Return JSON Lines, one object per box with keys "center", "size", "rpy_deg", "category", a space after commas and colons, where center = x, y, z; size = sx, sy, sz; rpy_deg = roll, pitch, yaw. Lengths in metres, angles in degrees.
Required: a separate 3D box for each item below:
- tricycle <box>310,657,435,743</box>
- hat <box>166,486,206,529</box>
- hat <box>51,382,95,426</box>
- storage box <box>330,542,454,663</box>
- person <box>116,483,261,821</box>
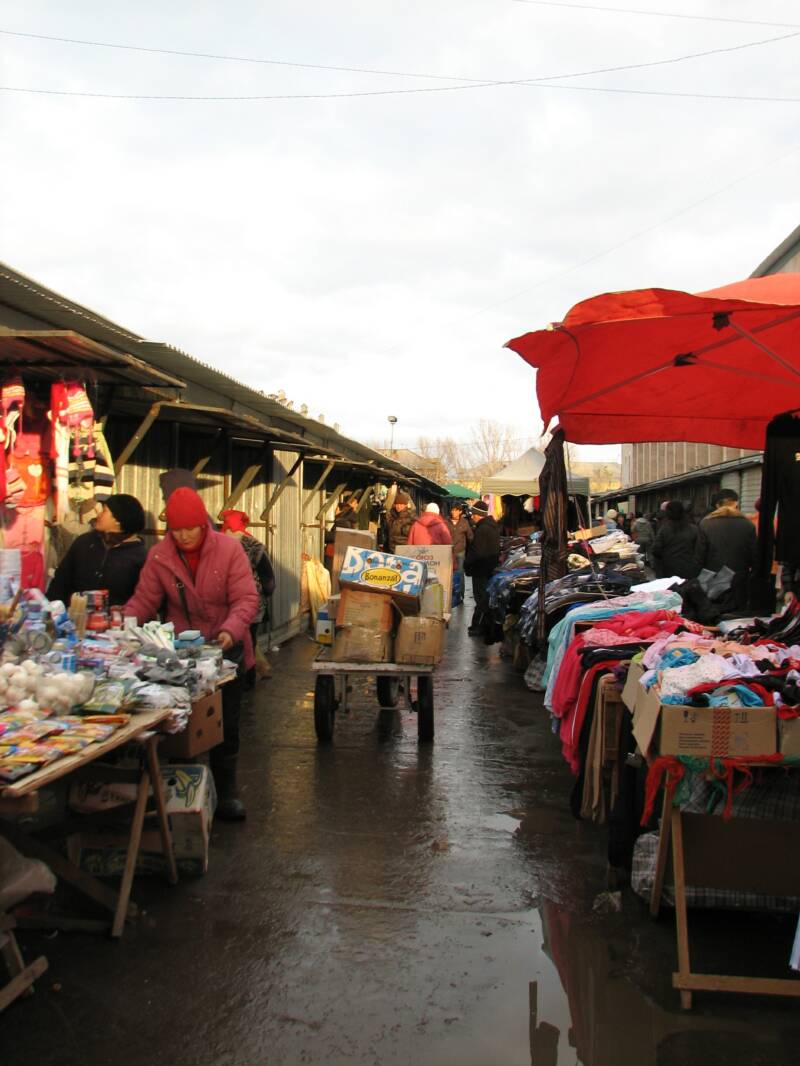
{"center": [-0.154, 1.351, 7.528], "size": [1.018, 0.761, 2.149], "rpy_deg": [1, 1, 3], "category": "tricycle"}
{"center": [-1.145, -0.133, 4.463], "size": [0.192, 0.214, 0.241], "rpy_deg": [1, 8, -1], "category": "hat"}
{"center": [-2.300, -0.850, 5.627], "size": [0.334, 0.237, 0.128], "rpy_deg": [5, -17, -3], "category": "hat"}
{"center": [-0.065, 0.623, 7.222], "size": [1.139, 1.036, 0.679], "rpy_deg": [2, -2, 1], "category": "storage box"}
{"center": [-1.190, 0.678, 4.622], "size": [0.730, 1.838, 0.701], "rpy_deg": [1, 2, -3], "category": "person"}
